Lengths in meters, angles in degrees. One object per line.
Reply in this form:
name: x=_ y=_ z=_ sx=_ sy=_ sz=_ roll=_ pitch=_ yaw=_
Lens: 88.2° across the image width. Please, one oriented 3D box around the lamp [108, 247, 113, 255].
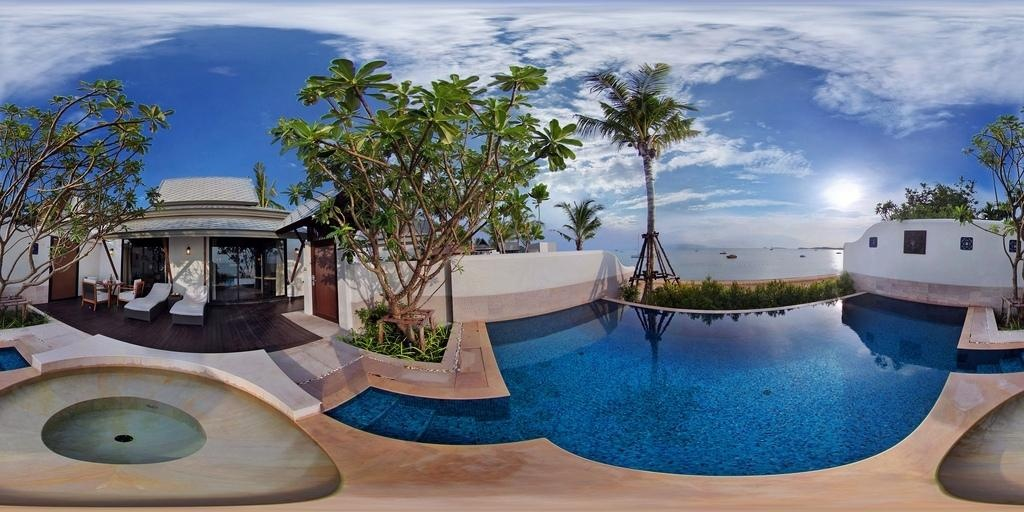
lamp: x=-20.765 y=-0.238 z=26.507 sx=0.253 sy=0.345 sz=0.425 roll=-15 pitch=14 yaw=-31
